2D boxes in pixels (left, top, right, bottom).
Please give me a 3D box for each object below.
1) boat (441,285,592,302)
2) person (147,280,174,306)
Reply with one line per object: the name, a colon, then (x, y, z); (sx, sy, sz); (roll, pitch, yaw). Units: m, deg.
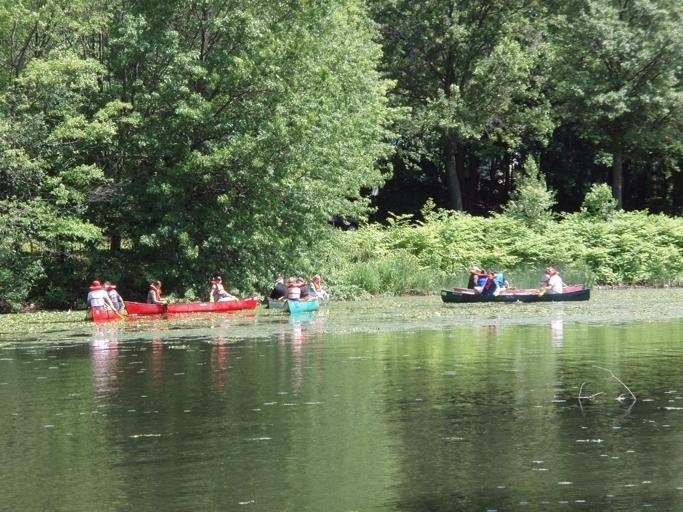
boat: (7.643, 1.722, 50.818); (6.394, 0.630, 0.877); (-1, 6, -1)
person: (-8.112, 1.593, 51.136); (0.787, 1.013, 0.771); (-8, 21, -26)
